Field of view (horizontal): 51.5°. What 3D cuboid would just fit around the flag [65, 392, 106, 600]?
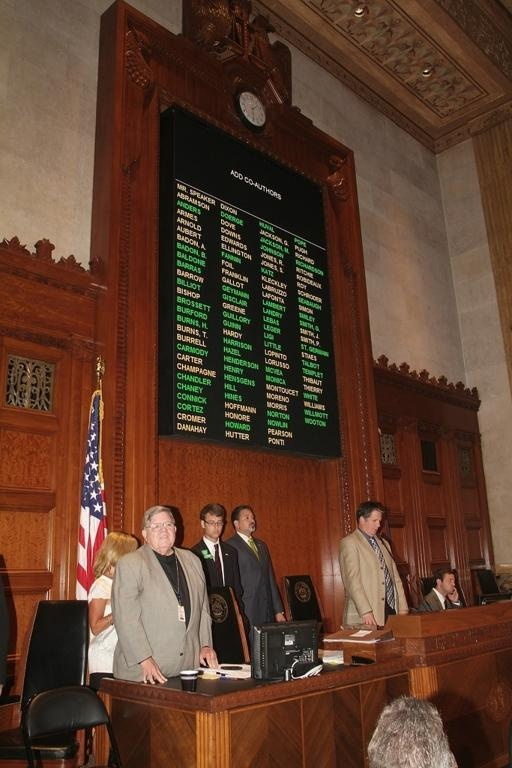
[{"bbox_3d":[-1.109,0.702,3.628,0.231,1.402,0.168,-1,15,-29],"label":"flag"}]

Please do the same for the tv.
[{"bbox_3d":[0.139,1.101,2.200,0.313,0.226,0.062,9,-15,-30],"label":"tv"}]

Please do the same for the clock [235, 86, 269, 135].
[{"bbox_3d":[-0.050,-2.947,5.723,0.039,0.495,0.470,-13,-13,40],"label":"clock"}]

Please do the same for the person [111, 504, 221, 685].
[{"bbox_3d":[-0.473,0.964,2.469,0.368,0.760,0.663,-5,-11,3],"label":"person"}]

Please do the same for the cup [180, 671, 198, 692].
[{"bbox_3d":[-0.250,1.107,1.981,0.063,0.072,0.074,3,2,-4],"label":"cup"}]

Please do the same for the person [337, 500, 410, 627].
[{"bbox_3d":[0.887,1.358,4.052,0.331,0.896,0.557,-13,-14,41],"label":"person"}]

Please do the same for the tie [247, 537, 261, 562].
[{"bbox_3d":[-0.022,1.284,4.258,0.048,0.243,0.057,-12,-8,-12],"label":"tie"}]

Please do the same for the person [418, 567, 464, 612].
[{"bbox_3d":[1.607,1.813,4.727,0.339,0.358,0.959,-8,-11,16],"label":"person"}]
